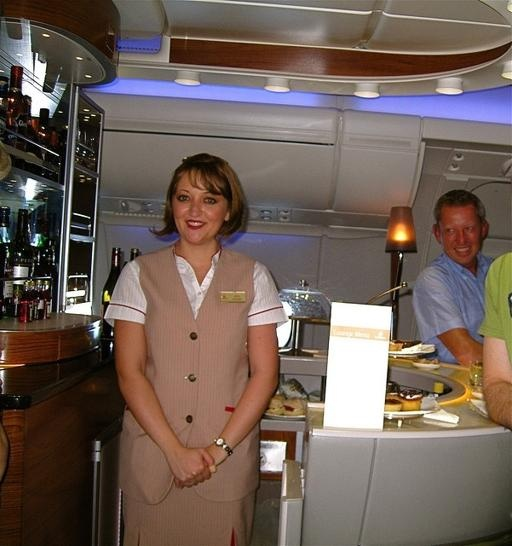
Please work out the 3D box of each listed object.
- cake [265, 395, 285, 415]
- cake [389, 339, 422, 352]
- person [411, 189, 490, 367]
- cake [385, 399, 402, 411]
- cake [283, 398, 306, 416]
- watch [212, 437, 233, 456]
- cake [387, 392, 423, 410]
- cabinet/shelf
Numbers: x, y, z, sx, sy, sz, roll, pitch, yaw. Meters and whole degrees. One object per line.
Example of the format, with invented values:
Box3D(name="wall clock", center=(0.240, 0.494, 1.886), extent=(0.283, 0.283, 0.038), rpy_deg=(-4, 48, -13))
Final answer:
Box3D(name="cake", center=(0.081, 0.534, 2.007), extent=(0.091, 0.049, 0.101), rpy_deg=(-3, -2, 3))
Box3D(name="cake", center=(0.572, 0.284, 1.920), extent=(0.159, 0.037, 0.101), rpy_deg=(0, -1, 12))
Box3D(name="person", center=(0.898, 0.007, 2.278), extent=(0.333, 0.825, 0.590), rpy_deg=(1, -1, 25))
Box3D(name="cake", center=(0.295, 0.285, 1.052), extent=(0.030, 0.020, 0.039), rpy_deg=(1, -1, 17))
Box3D(name="cake", center=(0.156, 0.543, 1.970), extent=(0.078, 0.041, 0.070), rpy_deg=(1, 4, 9))
Box3D(name="watch", center=(-0.082, 0.430, 1.207), extent=(0.024, 0.039, 0.038), rpy_deg=(-48, 8, -17))
Box3D(name="cake", center=(0.324, 0.275, 1.070), extent=(0.053, 0.016, 0.052), rpy_deg=(1, -6, 0))
Box3D(name="cabinet/shelf", center=(-0.801, -0.309, 2.284), extent=(0.109, 0.661, 0.364), rpy_deg=(2, -1, -8))
